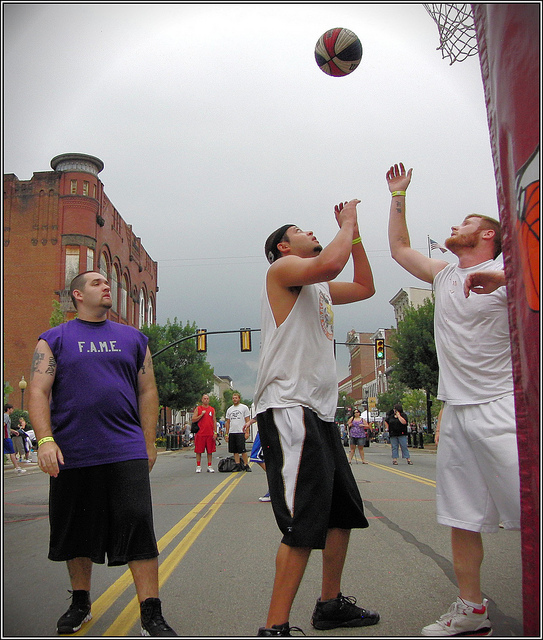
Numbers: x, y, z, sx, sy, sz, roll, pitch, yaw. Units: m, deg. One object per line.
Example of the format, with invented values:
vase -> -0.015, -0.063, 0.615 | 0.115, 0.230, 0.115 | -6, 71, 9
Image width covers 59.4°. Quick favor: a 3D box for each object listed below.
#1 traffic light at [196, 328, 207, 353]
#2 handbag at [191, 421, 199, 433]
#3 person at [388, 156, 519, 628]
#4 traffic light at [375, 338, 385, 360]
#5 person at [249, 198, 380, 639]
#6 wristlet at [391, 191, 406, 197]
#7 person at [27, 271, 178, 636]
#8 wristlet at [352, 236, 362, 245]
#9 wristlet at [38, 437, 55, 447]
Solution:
traffic light -> -3.640, 1.028, 24.526 | 0.422, 1.097, 1.858 | -4, -4, -6
handbag -> -2.064, 2.893, 12.867 | 0.228, 0.406, 0.186 | -4, 13, -1
person -> 0.985, 0.397, 2.523 | 0.544, 2.109, 0.748 | -5, -3, 17
traffic light -> 6.319, 1.715, 27.827 | 0.429, 0.983, 1.637 | -5, -3, 14
person -> 0.193, 0.495, 2.389 | 0.569, 1.513, 1.124 | -6, -3, 31
wristlet -> 0.807, -0.810, 3.040 | 0.083, 0.032, 0.020 | -8, -4, 27
person -> -0.903, 0.667, 2.524 | 0.697, 2.021, 0.803 | -4, -3, -4
wristlet -> 0.493, -0.469, 2.761 | 0.043, 0.033, 0.102 | -6, -4, 4
wristlet -> -1.103, 0.589, 2.315 | 0.070, 0.037, 0.071 | -5, -4, -21
